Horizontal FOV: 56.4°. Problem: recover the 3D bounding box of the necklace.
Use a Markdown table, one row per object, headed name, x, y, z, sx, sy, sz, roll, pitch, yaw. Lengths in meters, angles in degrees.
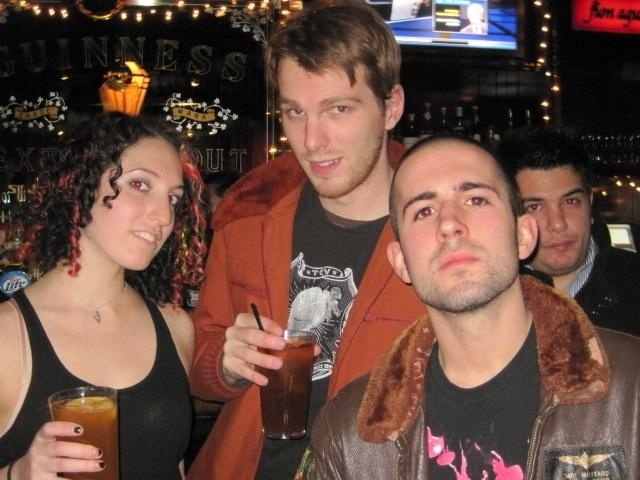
| name | x | y | z | sx | sy | sz | roll | pitch | yaw |
| --- | --- | --- | --- | --- | --- | --- | --- | --- | --- |
| necklace | -1.091 | 0.280 | 2.748 | 0.256 | 0.243 | 0.071 | -2 | 44 | -10 |
